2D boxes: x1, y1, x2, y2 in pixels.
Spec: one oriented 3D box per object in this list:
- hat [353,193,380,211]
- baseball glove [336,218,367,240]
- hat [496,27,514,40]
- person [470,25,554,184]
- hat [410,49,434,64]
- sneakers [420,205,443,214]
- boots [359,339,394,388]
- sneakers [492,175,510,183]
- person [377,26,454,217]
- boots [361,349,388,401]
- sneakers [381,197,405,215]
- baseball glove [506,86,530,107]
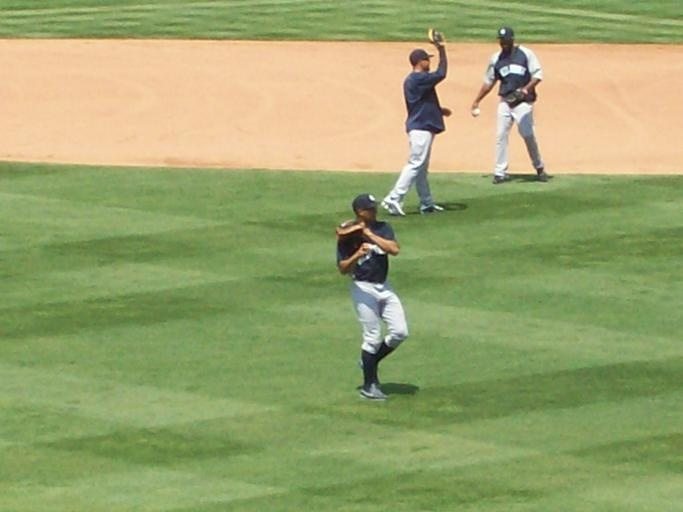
[{"bbox_3d":[0.289,-0.696,21.014,0.288,0.149,0.210,-4,16,8],"label":"hat"},{"bbox_3d":[0.122,-0.341,20.834,0.304,0.096,0.223,-20,23,-29],"label":"baseball glove"},{"bbox_3d":[2.534,-3.459,25.727,0.279,0.222,0.389,3,14,21],"label":"hat"},{"bbox_3d":[2.695,-2.394,26.134,1.178,2.564,1.112,2,20,4],"label":"person"},{"bbox_3d":[1.172,-3.028,24.740,0.316,0.175,0.223,-21,15,-3],"label":"hat"},{"bbox_3d":[1.354,-0.732,25.189,0.416,0.155,0.130,-4,22,-3],"label":"sneakers"},{"bbox_3d":[0.557,1.372,20.971,0.696,0.632,0.303,-2,7,-12],"label":"boots"},{"bbox_3d":[2.527,-1.241,26.335,0.109,0.120,0.309,-1,-1,25],"label":"sneakers"},{"bbox_3d":[1.134,-2.030,24.900,0.943,2.836,1.141,1,20,3],"label":"person"},{"bbox_3d":[0.372,1.506,20.986,0.316,0.616,0.343,-4,20,-13],"label":"boots"},{"bbox_3d":[0.798,-0.746,24.960,0.188,0.410,0.176,-17,42,50],"label":"sneakers"},{"bbox_3d":[2.710,-2.490,25.639,0.329,0.189,0.136,-23,-6,23],"label":"baseball glove"}]
